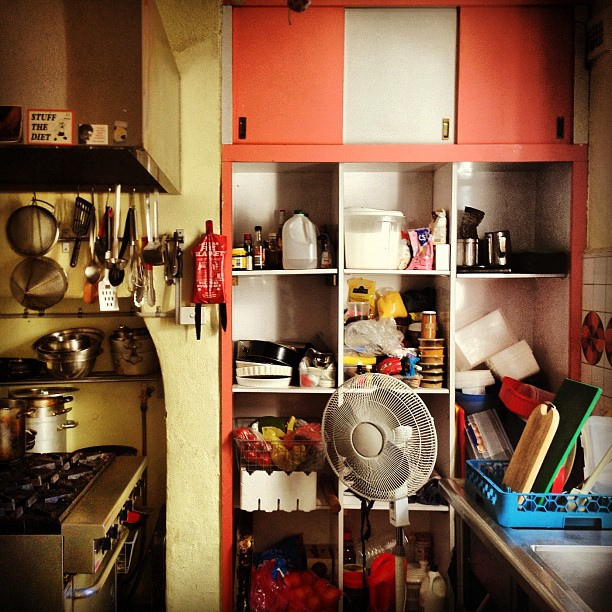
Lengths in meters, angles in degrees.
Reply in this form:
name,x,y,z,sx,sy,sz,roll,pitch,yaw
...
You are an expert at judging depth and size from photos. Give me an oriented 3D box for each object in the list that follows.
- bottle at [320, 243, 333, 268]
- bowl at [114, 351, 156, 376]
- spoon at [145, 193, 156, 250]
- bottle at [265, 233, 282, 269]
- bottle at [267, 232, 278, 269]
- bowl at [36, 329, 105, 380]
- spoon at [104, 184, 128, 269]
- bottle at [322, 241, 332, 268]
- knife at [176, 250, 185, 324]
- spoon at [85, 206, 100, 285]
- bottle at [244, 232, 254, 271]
name,x,y,z,sx,sy,sz,roll,pitch,yaw
bottle,0.082,-0.227,2.925,0.050,0.108,0.112,-4,6,-25
bowl,-0.771,0.257,2.949,0.179,0.107,0.074,-4,6,-19
spoon,-0.624,-0.340,2.606,0.041,0.229,0.247,-3,6,-13
bottle,-0.146,-0.250,2.957,0.073,0.162,0.086,-2,5,-2
bottle,-0.151,-0.248,2.953,0.051,0.158,0.079,-2,5,1
bowl,-1.059,0.239,2.945,0.291,0.184,0.298,-2,11,0
spoon,-0.732,-0.301,2.538,0.084,0.321,0.202,-4,6,-26
bottle,0.091,-0.225,2.890,0.036,0.105,0.043,-7,7,-44
knife,-0.520,-0.095,2.716,0.029,0.274,0.086,-2,5,-4
spoon,-0.888,-0.251,2.714,0.055,0.325,0.140,-4,5,-26
bottle,-0.255,-0.245,2.924,0.036,0.157,0.154,-2,5,-5
